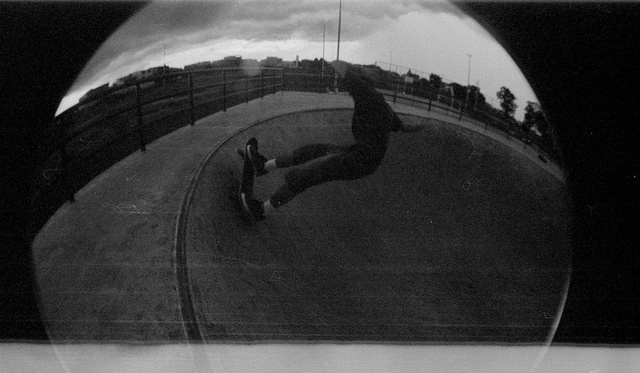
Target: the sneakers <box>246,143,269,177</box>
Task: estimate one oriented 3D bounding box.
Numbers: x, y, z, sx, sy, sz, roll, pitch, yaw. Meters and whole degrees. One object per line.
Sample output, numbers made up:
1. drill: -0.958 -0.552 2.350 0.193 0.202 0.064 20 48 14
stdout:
1. sneakers: -0.440 -0.185 3.424 0.097 0.110 0.269 -27 91 -11
